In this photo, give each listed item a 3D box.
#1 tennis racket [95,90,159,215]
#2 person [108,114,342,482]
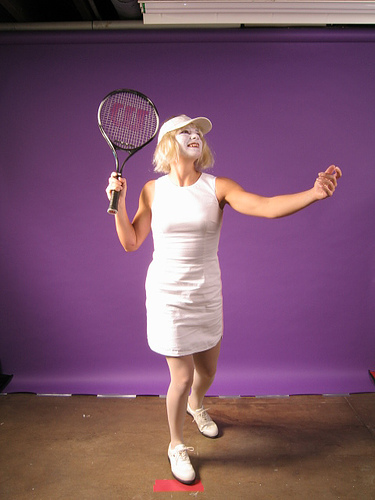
[{"bbox_3d":[-0.339,-0.529,2.361,0.339,0.678,0.057,9,-1,8],"label":"tennis racket"},{"bbox_3d":[0.006,0.258,2.377,0.786,1.761,0.849,-10,28,-25],"label":"person"}]
